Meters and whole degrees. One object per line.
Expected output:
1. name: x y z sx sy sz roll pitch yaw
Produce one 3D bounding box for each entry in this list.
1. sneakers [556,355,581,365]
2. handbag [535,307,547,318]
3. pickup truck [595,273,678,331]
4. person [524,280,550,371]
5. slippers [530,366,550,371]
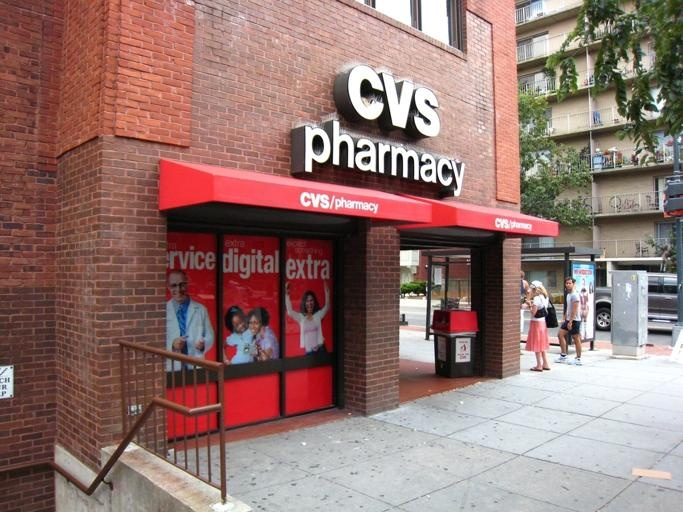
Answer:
1. sneakers: 5.586 2.540 14.204 0.541 0.251 0.184 2 -6 21
2. handbag: 4.527 1.293 13.134 0.249 0.242 0.181 -1 -1 28
3. pickup truck: 11.309 1.602 21.063 3.687 1.832 2.131 -5 -6 32
4. person: 4.657 1.621 13.607 0.546 2.073 1.038 2 5 18
5. slippers: 4.631 2.575 13.395 0.372 0.104 0.149 2 -1 25
